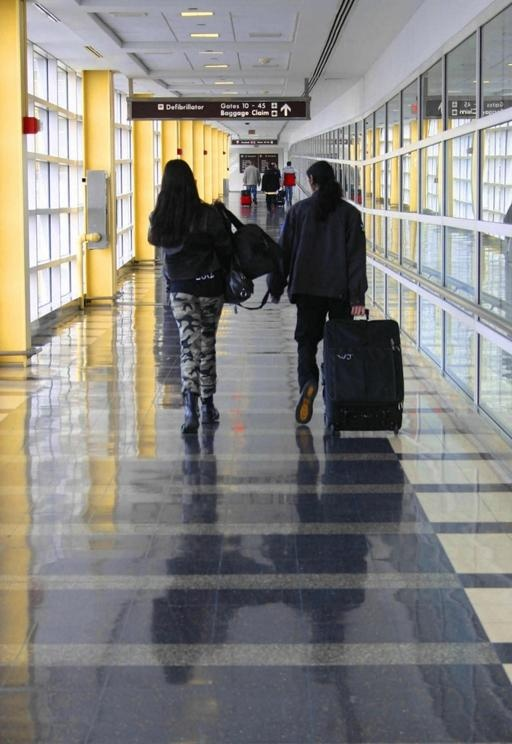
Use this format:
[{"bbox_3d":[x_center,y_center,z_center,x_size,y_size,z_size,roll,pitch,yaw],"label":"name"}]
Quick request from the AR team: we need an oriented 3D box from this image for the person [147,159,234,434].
[{"bbox_3d":[-0.380,-0.465,3.865,0.464,1.741,0.569,4,6,34],"label":"person"}]

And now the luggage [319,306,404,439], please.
[{"bbox_3d":[0.690,0.040,3.802,0.496,0.741,0.229,1,5,4],"label":"luggage"}]

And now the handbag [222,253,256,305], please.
[{"bbox_3d":[-0.114,-0.619,3.823,0.109,0.237,0.205,-16,31,-6],"label":"handbag"}]

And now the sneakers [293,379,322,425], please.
[{"bbox_3d":[0.346,0.195,3.987,0.113,0.324,0.116,10,3,-21],"label":"sneakers"}]
